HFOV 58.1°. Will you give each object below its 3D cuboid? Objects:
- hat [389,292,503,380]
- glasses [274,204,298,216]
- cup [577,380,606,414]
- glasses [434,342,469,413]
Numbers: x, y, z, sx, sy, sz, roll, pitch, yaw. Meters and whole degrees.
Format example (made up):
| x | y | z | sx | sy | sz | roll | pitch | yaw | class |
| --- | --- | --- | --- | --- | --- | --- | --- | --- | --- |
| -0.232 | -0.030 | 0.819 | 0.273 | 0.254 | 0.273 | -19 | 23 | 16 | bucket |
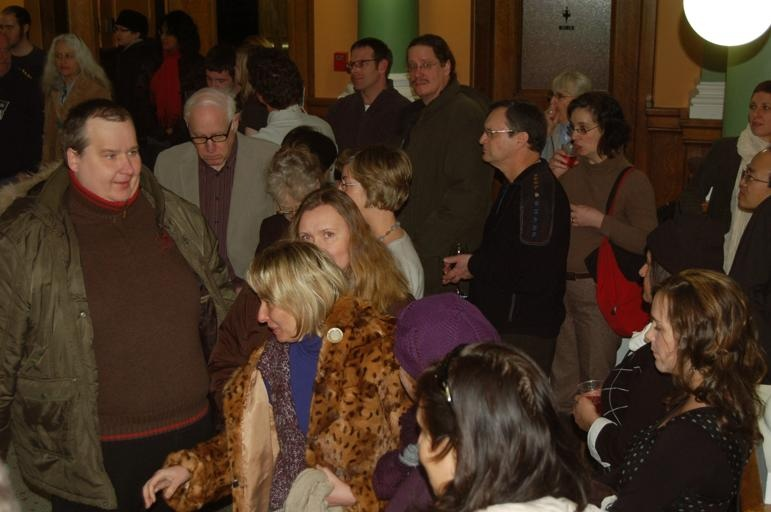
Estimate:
| x | y | z | sx | sy | sz | roll | pitch | yaw | class |
| --- | --- | --- | --- | --- | --- | --- | --- | --- | --- |
| 0.228 | 0.323 | 2.733 | 0.253 | 0.320 | 0.393 | -7 | 12 | -43 | hat |
| -0.626 | -0.292 | 4.286 | 0.125 | 0.040 | 0.132 | 3 | -9 | 20 | glasses |
| 1.134 | 0.784 | 3.822 | 0.155 | 0.170 | 0.153 | 0 | 5 | 0 | cup |
| 0.203 | 0.398 | 2.330 | 0.049 | 0.171 | 0.166 | 9 | 34 | -3 | glasses |
